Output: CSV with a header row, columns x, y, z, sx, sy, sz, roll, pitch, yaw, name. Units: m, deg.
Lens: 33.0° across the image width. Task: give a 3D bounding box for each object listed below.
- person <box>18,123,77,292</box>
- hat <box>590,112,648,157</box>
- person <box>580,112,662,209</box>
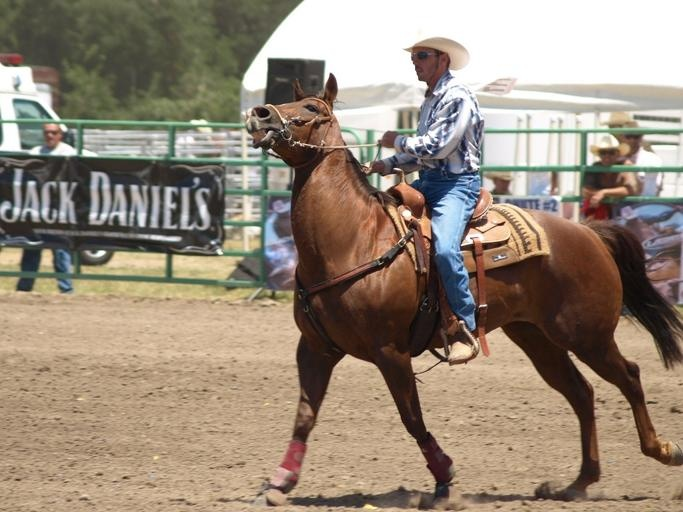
x,y,z,sx,sy,sz,roll,pitch,yaw,name
-3.895,-0.628,15.260,0.832,2.218,0.467,1,6,3,person
3.659,-1.577,14.800,0.726,0.233,0.733,1,-6,12,hat
3.691,-1.300,14.647,1.109,1.055,0.430,-11,6,4,person
